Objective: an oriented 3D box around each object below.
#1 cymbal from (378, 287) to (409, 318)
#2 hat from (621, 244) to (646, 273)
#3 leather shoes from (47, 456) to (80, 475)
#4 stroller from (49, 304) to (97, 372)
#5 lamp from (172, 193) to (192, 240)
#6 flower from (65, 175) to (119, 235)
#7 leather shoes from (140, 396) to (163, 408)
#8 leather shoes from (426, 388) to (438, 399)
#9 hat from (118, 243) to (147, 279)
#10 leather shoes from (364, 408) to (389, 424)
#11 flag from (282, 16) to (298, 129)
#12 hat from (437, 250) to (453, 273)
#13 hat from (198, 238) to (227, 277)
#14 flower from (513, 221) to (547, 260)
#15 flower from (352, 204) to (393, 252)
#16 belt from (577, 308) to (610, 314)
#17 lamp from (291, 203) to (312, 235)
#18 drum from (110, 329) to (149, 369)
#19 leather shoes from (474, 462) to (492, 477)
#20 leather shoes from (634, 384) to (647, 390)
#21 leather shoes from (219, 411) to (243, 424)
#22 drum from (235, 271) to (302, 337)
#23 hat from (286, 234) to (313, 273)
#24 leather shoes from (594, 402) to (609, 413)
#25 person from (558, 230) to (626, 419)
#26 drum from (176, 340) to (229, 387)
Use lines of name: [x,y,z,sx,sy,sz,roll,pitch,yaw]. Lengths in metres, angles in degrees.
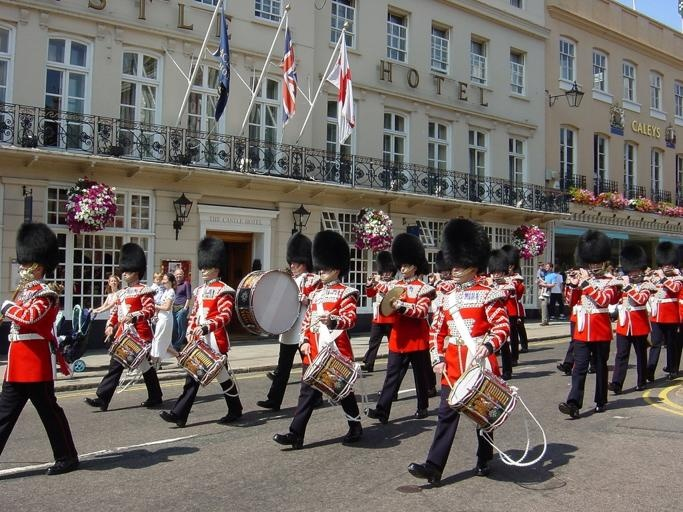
cymbal: [0.786,0.699,14.844,0.300,0.492,0.603,4,9,25]
hat: [5.508,0.051,17.958,0.408,0.568,0.570,1,2,22]
leather shoes: [-3.939,2.964,13.514,0.506,0.221,0.165,-1,17,-22]
stroller: [-5.319,1.681,18.750,1.063,1.124,0.732,-2,0,-12]
lamp: [-3.793,-0.953,22.920,0.503,1.129,0.447,-5,10,-29]
flower: [-5.460,-1.048,20.661,1.224,0.975,1.306,-10,30,-29]
leather shoes: [-3.264,2.523,16.412,0.388,0.163,0.132,9,-2,-21]
leather shoes: [1.597,2.426,16.851,0.134,0.168,0.403,-2,-11,9]
hat: [-3.641,0.108,16.505,0.451,0.619,0.379,-3,-12,36]
leather shoes: [0.508,2.569,15.241,0.503,0.170,0.221,24,-10,-8]
flag: [-1.277,-4.537,23.126,0.396,2.663,0.156,-18,32,-37]
hat: [1.766,0.105,16.300,0.138,0.427,0.317,-13,-1,-26]
hat: [-2.160,-0.016,15.856,0.635,0.640,0.634,3,8,7]
flower: [5.759,-0.509,29.281,0.889,0.886,0.889,21,-6,18]
flower: [0.810,-0.651,25.076,1.083,1.054,0.754,10,-8,-6]
belt: [4.151,0.895,15.751,0.486,0.092,0.124,3,9,20]
lamp: [-1.028,-0.978,24.834,0.420,0.728,0.845,6,11,38]
drum: [-3.571,1.563,16.113,0.626,0.303,0.832,34,10,7]
leather shoes: [2.012,3.015,13.480,0.226,0.174,0.145,0,9,2]
leather shoes: [5.466,2.396,17.400,0.086,0.073,0.203,-4,-4,-6]
leather shoes: [-1.793,2.625,15.490,0.383,0.160,0.137,-4,6,-27]
drum: [-1.137,0.763,15.321,1.022,0.996,0.462,9,-9,-38]
hat: [-0.719,-0.032,16.440,0.491,0.758,0.442,6,-9,-37]
leather shoes: [4.358,2.543,15.928,0.109,0.140,0.334,-25,-23,24]
person: [4.161,1.145,15.815,0.908,2.953,1.524,2,9,16]
drum: [-2.193,1.669,14.982,0.740,0.646,0.271,41,-3,5]
